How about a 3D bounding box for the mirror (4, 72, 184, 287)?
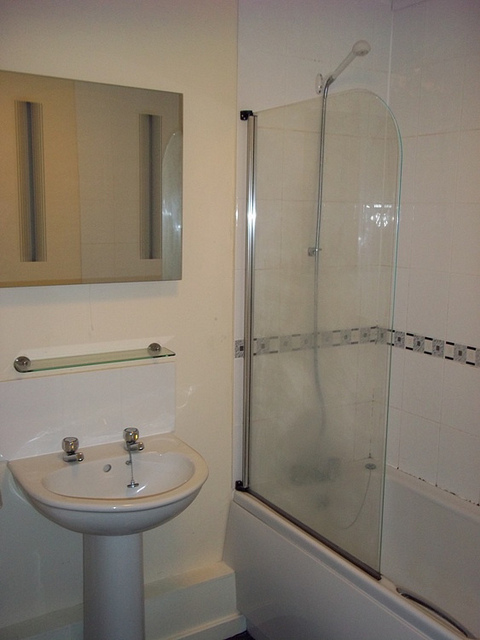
[{"bbox_3d":[-0.448,-0.423,1.580,0.588,0.568,0.020,-6,12,-42],"label":"mirror"}]
